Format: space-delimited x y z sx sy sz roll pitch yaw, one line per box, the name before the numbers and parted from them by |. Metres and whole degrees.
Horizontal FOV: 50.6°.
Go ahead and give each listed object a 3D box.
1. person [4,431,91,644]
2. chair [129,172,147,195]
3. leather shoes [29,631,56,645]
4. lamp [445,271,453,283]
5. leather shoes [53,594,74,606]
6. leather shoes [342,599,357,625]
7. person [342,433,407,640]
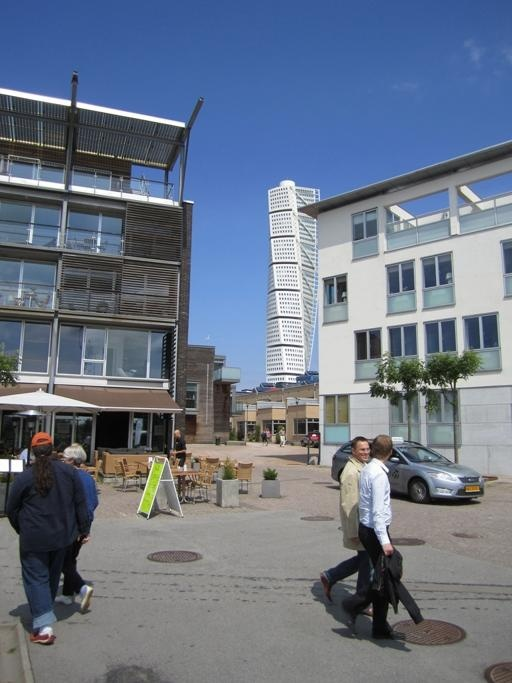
person | -1.584 1.460 4.112 0.363 1.483 0.605 -6 -9 30
chair | -5.633 -7.459 25.846 0.850 1.069 0.406 1 -9 -17
leather shoes | -1.519 2.123 3.841 0.180 0.072 0.076 -3 -9 35
lamp | 8.687 -2.852 24.216 0.092 0.557 0.383 4 -9 -29
leather shoes | -1.781 2.408 5.008 0.191 0.080 0.066 3 -6 21
leather shoes | 0.731 2.103 4.195 0.121 0.246 0.085 -3 -5 21
person | 0.918 1.506 4.126 0.406 1.534 0.662 1 -8 -13
